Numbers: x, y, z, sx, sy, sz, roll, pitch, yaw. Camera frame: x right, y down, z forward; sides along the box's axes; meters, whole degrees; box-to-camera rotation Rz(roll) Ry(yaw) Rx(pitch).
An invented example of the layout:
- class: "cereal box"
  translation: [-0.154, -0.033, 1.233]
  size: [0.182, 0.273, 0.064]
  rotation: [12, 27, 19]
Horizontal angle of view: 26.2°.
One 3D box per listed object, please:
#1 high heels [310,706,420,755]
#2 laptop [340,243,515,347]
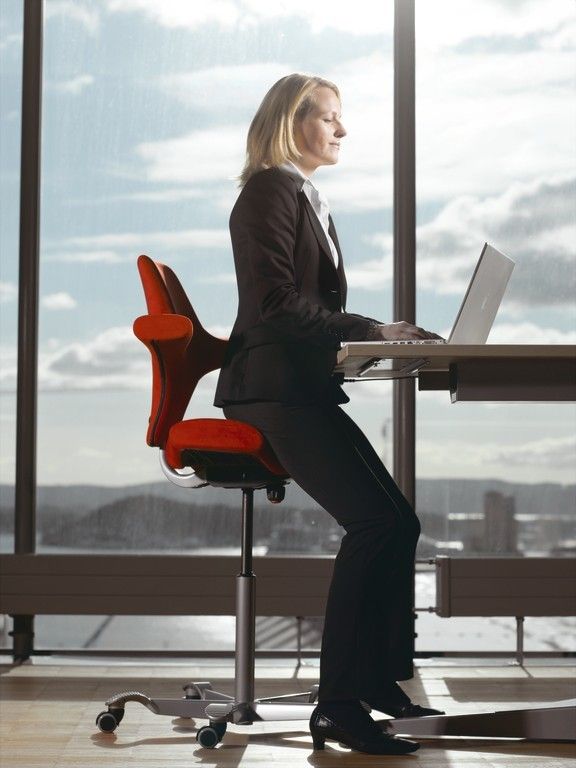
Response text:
- class: "high heels"
  translation: [0.172, 0.892, 3.184]
  size: [0.361, 0.153, 0.110]
  rotation: [1, -12, -6]
- class: "laptop"
  translation: [0.396, -0.234, 3.311]
  size: [0.247, 0.295, 0.328]
  rotation: [20, -8, 43]
